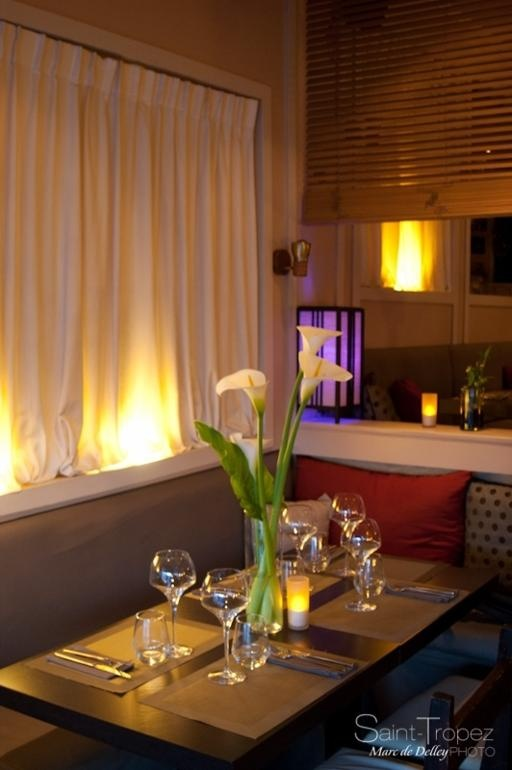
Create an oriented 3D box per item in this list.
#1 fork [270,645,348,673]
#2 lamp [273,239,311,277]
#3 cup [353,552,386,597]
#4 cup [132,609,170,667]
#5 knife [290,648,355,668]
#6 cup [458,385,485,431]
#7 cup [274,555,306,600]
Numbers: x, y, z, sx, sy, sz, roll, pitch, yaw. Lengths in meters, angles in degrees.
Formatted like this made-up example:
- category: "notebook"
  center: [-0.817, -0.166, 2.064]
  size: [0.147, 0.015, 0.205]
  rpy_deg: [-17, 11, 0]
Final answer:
- category: "fork"
  center: [0.109, 0.543, 1.220]
  size: [0.092, 0.014, 0.054]
  rpy_deg: [-2, -4, 35]
- category: "lamp"
  center: [0.168, -0.573, 2.993]
  size: [0.160, 0.218, 0.194]
  rpy_deg: [4, 6, 38]
- category: "cup"
  center: [0.285, 0.505, 1.658]
  size: [0.095, 0.137, 0.099]
  rpy_deg: [1, -5, 0]
- category: "cup"
  center: [-0.198, 0.484, 1.224]
  size: [0.090, 0.130, 0.096]
  rpy_deg: [-1, -4, 0]
- category: "knife"
  center: [0.133, 0.546, 1.247]
  size: [0.069, 0.011, 0.043]
  rpy_deg: [-4, -9, 37]
- category: "cup"
  center: [0.976, 0.111, 2.837]
  size: [0.099, 0.207, 0.121]
  rpy_deg: [-2, -4, 17]
- category: "cup"
  center: [0.080, 0.513, 1.702]
  size: [0.110, 0.112, 0.113]
  rpy_deg: [-2, -5, 0]
